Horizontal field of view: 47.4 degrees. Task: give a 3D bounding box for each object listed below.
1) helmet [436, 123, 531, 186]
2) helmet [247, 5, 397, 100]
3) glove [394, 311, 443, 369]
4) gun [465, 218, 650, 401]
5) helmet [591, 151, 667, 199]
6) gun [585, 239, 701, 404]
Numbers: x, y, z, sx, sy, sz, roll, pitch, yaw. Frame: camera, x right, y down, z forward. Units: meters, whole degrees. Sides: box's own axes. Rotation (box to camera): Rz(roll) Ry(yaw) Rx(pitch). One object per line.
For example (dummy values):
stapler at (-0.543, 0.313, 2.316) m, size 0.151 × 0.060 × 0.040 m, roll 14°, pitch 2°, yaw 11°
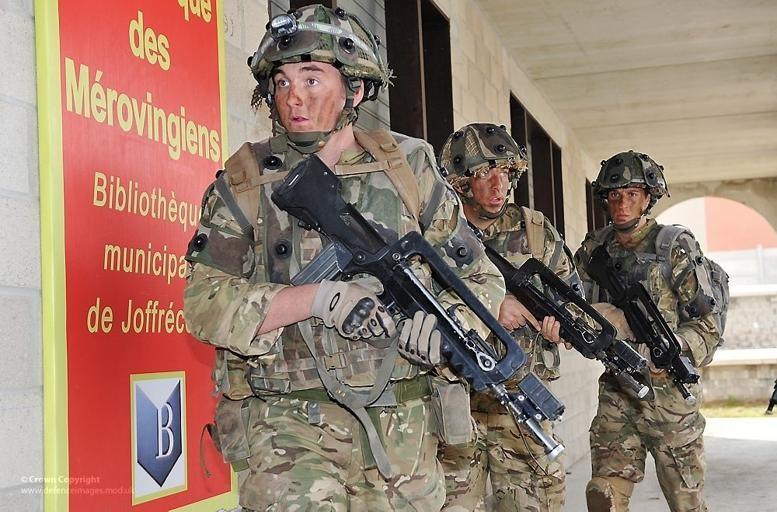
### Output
helmet at (0.623, -0.721, 6.134) m, size 0.546 × 0.484 × 0.520 m, roll 8°, pitch 2°, yaw 25°
helmet at (-0.297, -0.930, 3.880) m, size 0.454 × 0.329 × 0.495 m, roll -2°, pitch -11°, yaw 10°
glove at (0.122, 0.353, 3.675) m, size 0.200 × 0.209 × 0.062 m, roll 17°, pitch 2°, yaw 15°
gun at (1.090, 0.312, 5.626) m, size 0.577 × 1.615 × 0.127 m, roll -41°, pitch -4°, yaw -21°
helmet at (1.868, -0.635, 7.065) m, size 0.419 × 0.379 × 0.433 m, roll 6°, pitch -10°, yaw -35°
gun at (1.836, 0.511, 6.574) m, size 0.116 × 1.476 × 0.619 m, roll -14°, pitch -45°, yaw -11°
